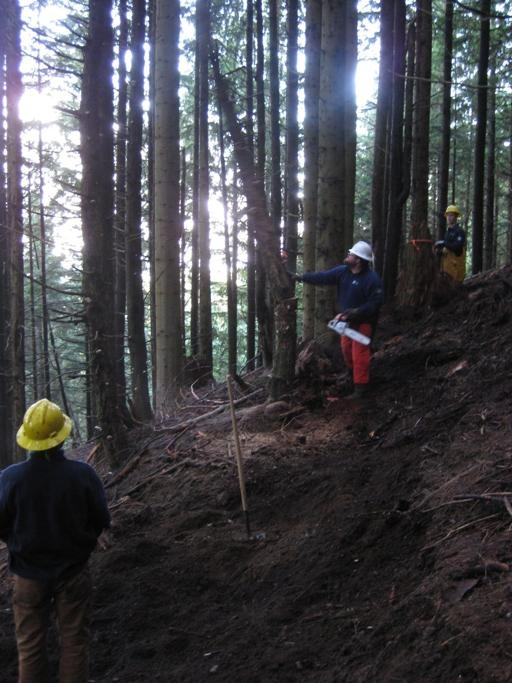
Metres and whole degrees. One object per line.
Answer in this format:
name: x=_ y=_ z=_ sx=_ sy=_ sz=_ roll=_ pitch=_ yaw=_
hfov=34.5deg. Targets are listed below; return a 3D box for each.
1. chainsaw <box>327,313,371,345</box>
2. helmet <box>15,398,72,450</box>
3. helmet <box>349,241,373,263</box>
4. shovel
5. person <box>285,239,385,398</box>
chainsaw: x=1.045 y=-0.100 z=9.313 sx=0.604 sy=0.204 sz=0.203 roll=32 pitch=37 yaw=22
helmet: x=-1.519 y=0.677 z=6.008 sx=0.360 sy=0.220 sz=0.411 roll=8 pitch=34 yaw=10
helmet: x=1.271 y=-1.036 z=9.494 sx=0.276 sy=0.165 sz=0.232 roll=27 pitch=5 yaw=-8
shovel: x=-0.084 y=1.156 z=7.785 sx=0.097 sy=1.889 sz=0.199 roll=-6 pitch=-4 yaw=-12
person: x=1.060 y=-0.313 z=9.680 sx=0.886 sy=1.200 sz=1.207 roll=-7 pitch=3 yaw=3
